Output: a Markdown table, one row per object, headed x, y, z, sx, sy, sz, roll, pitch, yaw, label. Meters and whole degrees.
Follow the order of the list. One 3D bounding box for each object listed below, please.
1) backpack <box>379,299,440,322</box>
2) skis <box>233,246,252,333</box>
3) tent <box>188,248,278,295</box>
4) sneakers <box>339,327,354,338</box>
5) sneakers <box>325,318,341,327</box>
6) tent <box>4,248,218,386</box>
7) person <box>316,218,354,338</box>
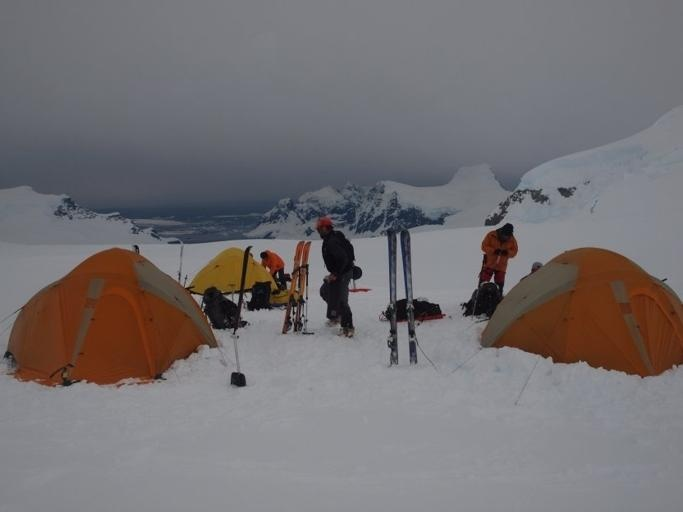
| x | y | z | sx | sy | sz | roll | pitch | yaw | label |
| --- | --- | --- | --- | --- | --- | --- | --- | --- | --- |
| 1.644 | 1.157 | 13.173 | 0.957 | 0.313 | 0.696 | -2 | 2 | -17 | backpack |
| -2.135 | 0.736 | 13.435 | 0.169 | 1.831 | 0.251 | 3 | -17 | 19 | skis |
| -2.737 | 0.411 | 15.031 | 1.428 | 0.827 | 1.347 | 3 | 3 | -4 | tent |
| 0.100 | 1.446 | 11.643 | 0.220 | 0.156 | 0.141 | 0 | -3 | -4 | sneakers |
| -0.174 | 1.339 | 12.598 | 0.186 | 0.152 | 0.195 | -3 | -4 | 38 | sneakers |
| -3.863 | 1.004 | 9.748 | 2.233 | 1.290 | 2.128 | 0 | 4 | -42 | tent |
| -0.122 | 0.381 | 11.900 | 0.724 | 2.267 | 1.063 | 0 | 10 | -1 | person |
